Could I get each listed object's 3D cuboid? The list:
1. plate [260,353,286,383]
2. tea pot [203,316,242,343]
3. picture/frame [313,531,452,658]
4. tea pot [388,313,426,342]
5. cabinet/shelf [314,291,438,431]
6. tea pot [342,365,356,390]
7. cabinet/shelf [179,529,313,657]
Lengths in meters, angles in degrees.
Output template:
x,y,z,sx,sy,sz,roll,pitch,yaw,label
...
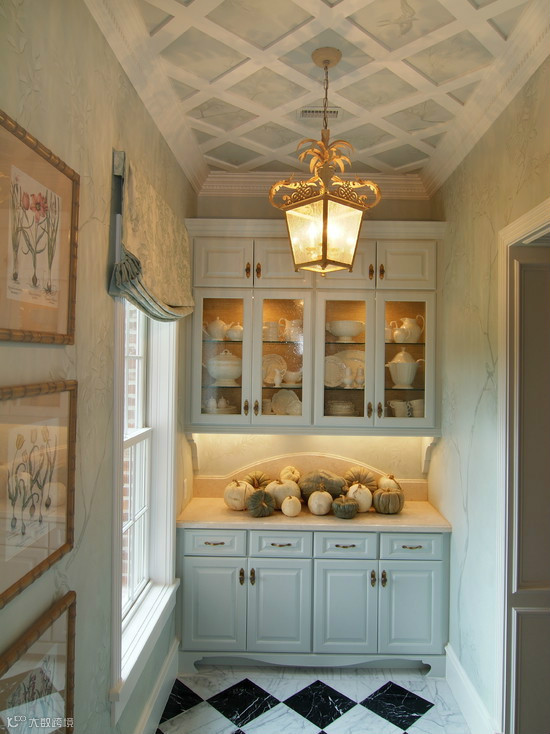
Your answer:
x,y,z,sx,sy,sz,roll,pitch,yaw,label
-0.005,0.010,2.951,0.124,0.169,0.013,1,-3,-4,plate
-0.270,-0.187,2.895,0.181,0.119,0.108,-1,1,-8,tea pot
0.508,1.084,2.710,0.636,0.568,0.031,0,-3,2,picture/frame
0.683,-0.209,2.946,0.150,0.130,0.126,3,-5,11,tea pot
0.529,-0.015,2.938,0.655,0.827,0.315,0,-4,-1,cabinet/shelf
0.388,0.047,2.949,0.077,0.106,0.106,2,-12,-6,tea pot
-0.148,1.109,2.716,0.552,0.527,0.236,0,-6,1,cabinet/shelf
